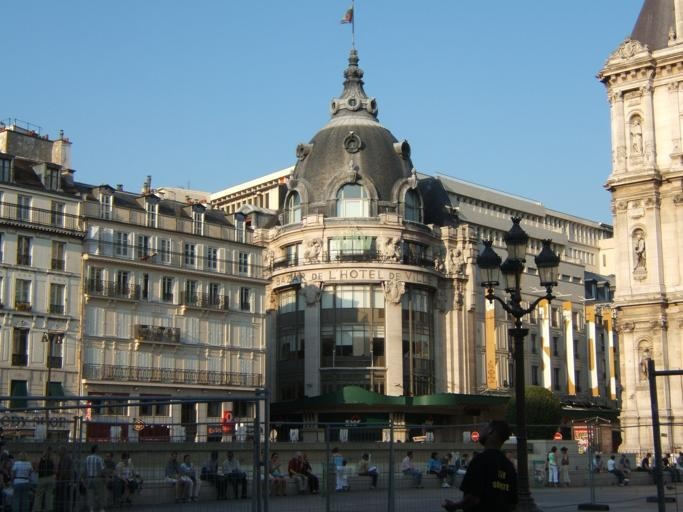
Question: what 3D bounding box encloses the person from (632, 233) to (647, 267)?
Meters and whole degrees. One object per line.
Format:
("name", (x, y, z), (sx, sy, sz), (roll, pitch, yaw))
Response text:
("person", (16.786, -0.464, 76.362), (0.904, 2.185, 0.421), (-13, -19, 33))
